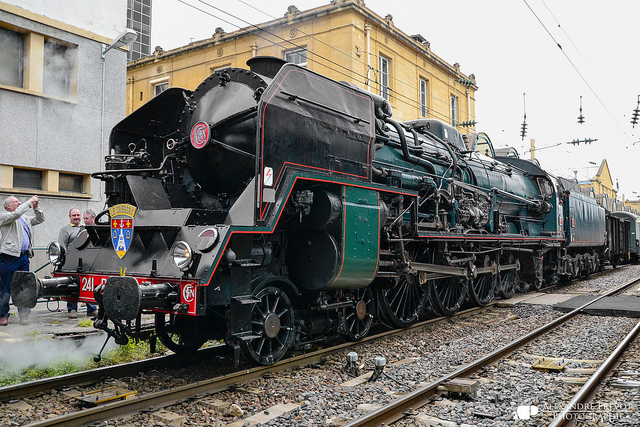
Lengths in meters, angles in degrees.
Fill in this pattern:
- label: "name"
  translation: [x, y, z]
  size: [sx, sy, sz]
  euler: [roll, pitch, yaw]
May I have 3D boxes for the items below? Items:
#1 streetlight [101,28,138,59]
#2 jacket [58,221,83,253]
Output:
- label: "streetlight"
  translation: [-5.492, -4.698, 14.381]
  size: [1.060, 0.858, 0.548]
  euler: [9, 8, 25]
- label: "jacket"
  translation: [-5.428, 0.516, 11.232]
  size: [0.271, 0.719, 0.788]
  euler: [13, 12, 0]
